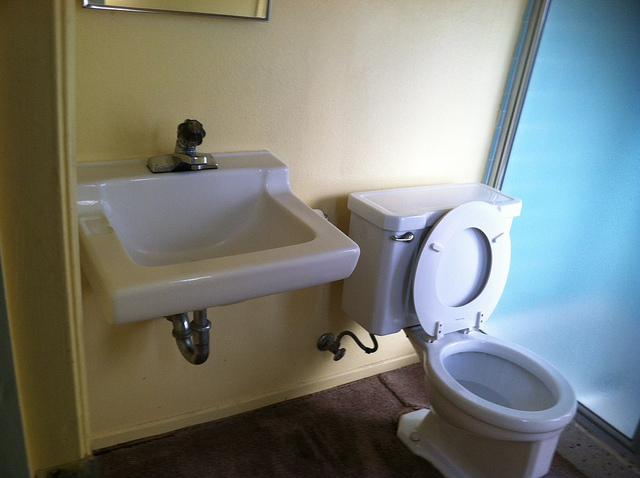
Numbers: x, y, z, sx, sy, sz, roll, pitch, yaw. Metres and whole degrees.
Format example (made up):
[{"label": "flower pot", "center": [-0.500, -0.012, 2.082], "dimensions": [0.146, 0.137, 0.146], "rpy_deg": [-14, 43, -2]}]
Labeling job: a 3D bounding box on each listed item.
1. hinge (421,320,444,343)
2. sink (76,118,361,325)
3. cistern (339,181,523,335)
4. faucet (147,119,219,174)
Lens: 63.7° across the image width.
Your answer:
[{"label": "hinge", "center": [0.378, 0.308, 1.723], "dimensions": [0.046, 0.081, 0.064], "rpy_deg": [-9, 37, -9]}, {"label": "sink", "center": [-0.286, -0.088, 1.292], "dimensions": [0.601, 0.356, 0.535], "rpy_deg": [-9, 27, -26]}, {"label": "cistern", "center": [0.343, 0.055, 1.710], "dimensions": [0.490, 0.385, 0.269], "rpy_deg": [-9, 31, -23]}, {"label": "faucet", "center": [-0.367, -0.259, 1.402], "dimensions": [0.197, 0.132, 0.102], "rpy_deg": [-6, 25, -32]}]
